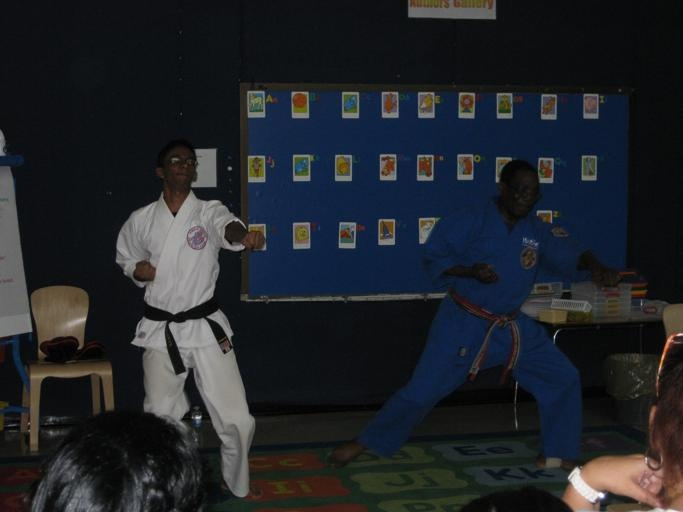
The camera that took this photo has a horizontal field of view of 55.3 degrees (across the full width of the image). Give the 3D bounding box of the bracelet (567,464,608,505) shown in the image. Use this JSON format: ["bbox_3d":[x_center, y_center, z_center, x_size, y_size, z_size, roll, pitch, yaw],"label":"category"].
[{"bbox_3d":[0.791,0.748,2.115,0.116,0.047,0.120,41,3,16],"label":"bracelet"}]
